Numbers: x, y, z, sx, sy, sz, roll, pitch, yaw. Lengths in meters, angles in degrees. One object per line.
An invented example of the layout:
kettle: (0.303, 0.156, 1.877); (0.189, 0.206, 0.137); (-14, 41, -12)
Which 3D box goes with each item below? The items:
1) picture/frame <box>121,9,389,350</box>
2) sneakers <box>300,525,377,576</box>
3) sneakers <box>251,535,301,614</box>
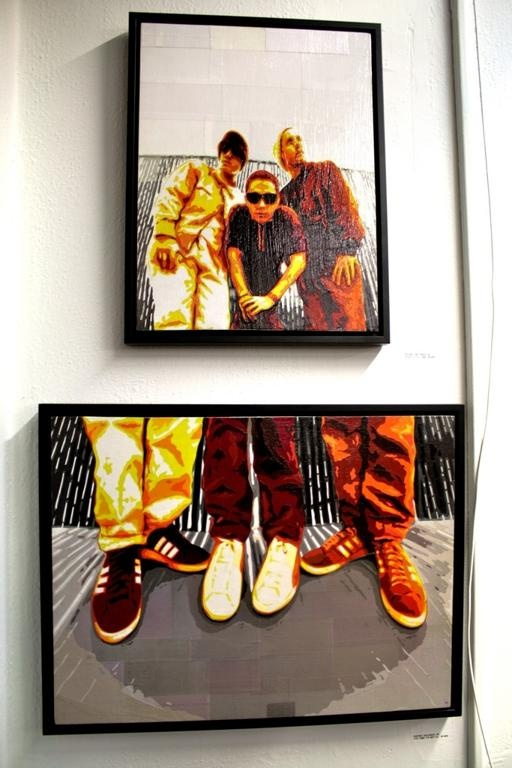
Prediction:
picture/frame: (0.004, -0.348, 0.996); (0.418, 0.664, 0.031); (-1, -15, -2)
sneakers: (0.146, 0.284, 1.005); (0.135, 0.056, 0.053); (-30, -24, 0)
sneakers: (0.036, 0.319, 0.960); (0.052, 0.148, 0.047); (9, -12, 6)
